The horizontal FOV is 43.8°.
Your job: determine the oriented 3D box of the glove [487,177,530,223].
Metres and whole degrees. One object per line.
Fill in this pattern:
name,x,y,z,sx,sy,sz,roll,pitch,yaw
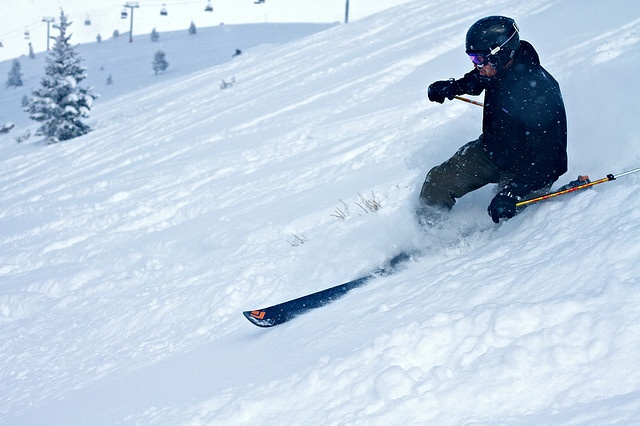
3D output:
glove,3.629,-0.206,15.386,0.803,0.812,0.300,-13,19,13
